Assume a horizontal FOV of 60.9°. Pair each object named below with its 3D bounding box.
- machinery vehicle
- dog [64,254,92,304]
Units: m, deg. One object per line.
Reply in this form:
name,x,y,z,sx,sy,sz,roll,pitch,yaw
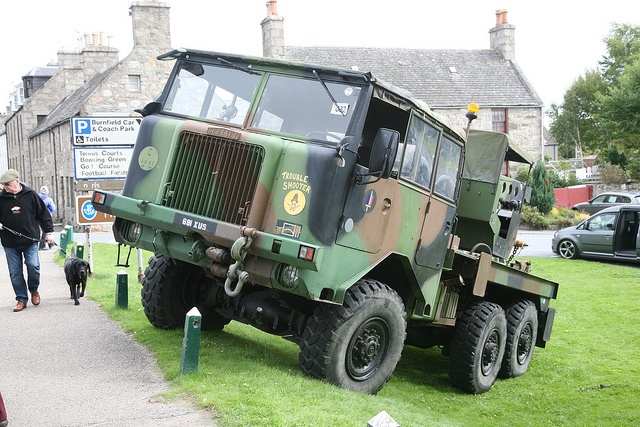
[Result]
machinery vehicle,0.195,0.479,8.877,7.003,6.202,2.912,-5,9,-29
dog,-5.469,1.316,12.024,0.362,0.919,1.822,-13,13,-36
